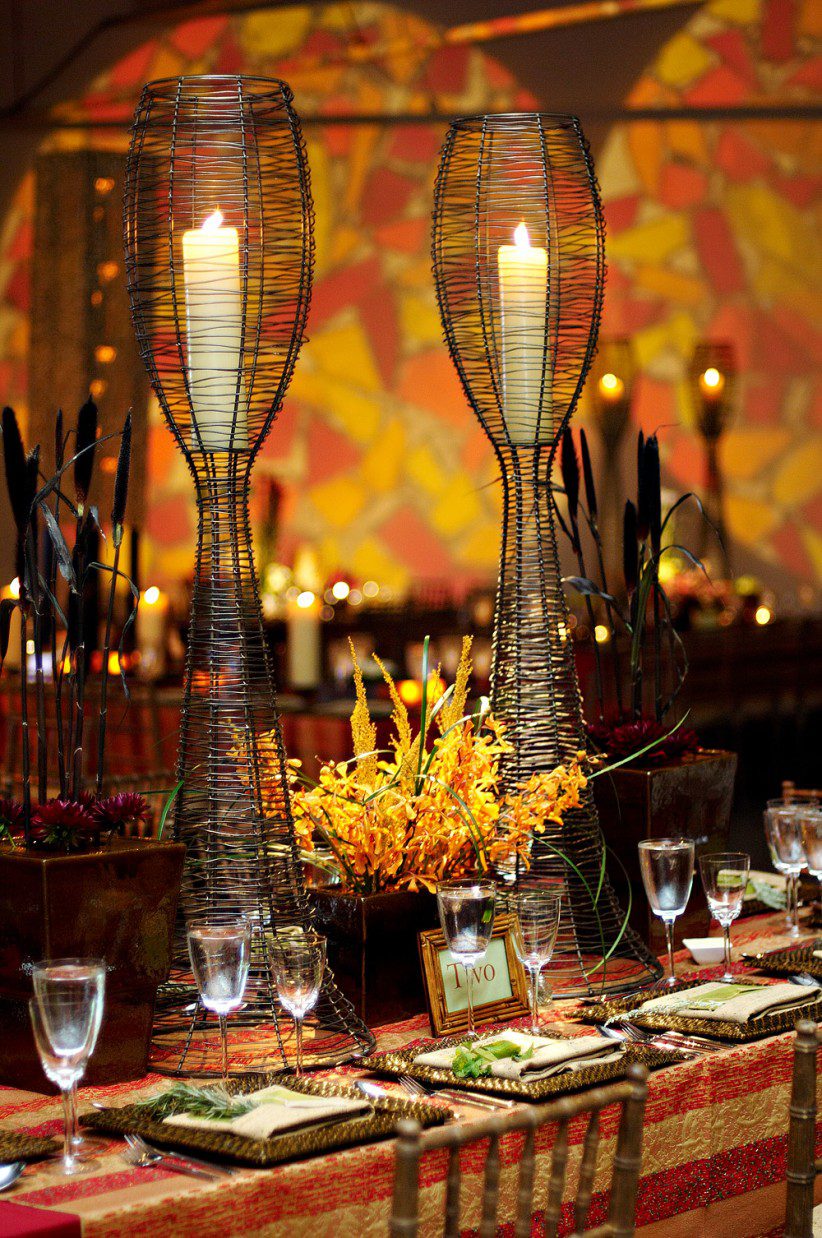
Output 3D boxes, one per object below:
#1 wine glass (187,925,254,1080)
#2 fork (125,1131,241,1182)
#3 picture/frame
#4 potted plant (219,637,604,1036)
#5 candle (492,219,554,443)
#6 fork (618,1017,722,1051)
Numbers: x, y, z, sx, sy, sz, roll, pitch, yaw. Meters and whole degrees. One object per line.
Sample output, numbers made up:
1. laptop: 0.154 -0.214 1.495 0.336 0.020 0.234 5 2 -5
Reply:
1. wine glass: -0.161 0.298 0.968 0.048 0.082 0.046 -3 -2 33
2. fork: -0.162 0.391 0.835 0.091 0.012 0.016 7 11 41
3. picture/frame: 0.064 0.388 1.249 0.185 0.150 0.014 -4 -7 -44
4. potted plant: -0.046 0.209 1.472 0.455 0.430 0.420 -3 3 -43
5. candle: 0.144 -0.363 1.478 0.067 0.278 0.042 -2 -2 3
6. fork: 0.271 0.428 1.216 0.035 0.015 0.112 0 2 -33
